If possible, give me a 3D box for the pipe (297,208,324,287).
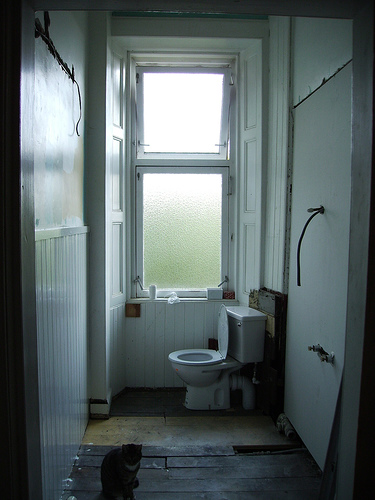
[{"bbox_3d":[0.694,-0.011,2.231,0.134,0.419,0.303,0,-1,16],"label":"pipe"}]

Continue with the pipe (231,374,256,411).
[{"bbox_3d":[0.444,1.108,3.049,0.192,0.386,0.149,0,-7,13],"label":"pipe"}]

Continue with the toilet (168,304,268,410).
[{"bbox_3d":[0.197,0.827,3.074,0.580,0.861,0.480,4,3,-9],"label":"toilet"}]

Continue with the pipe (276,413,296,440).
[{"bbox_3d":[0.641,1.156,2.554,0.087,0.090,0.255,1,-1,0],"label":"pipe"}]

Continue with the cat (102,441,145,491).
[{"bbox_3d":[-0.293,0.997,1.811,0.218,0.257,0.122,0,-2,42],"label":"cat"}]

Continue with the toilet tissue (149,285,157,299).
[{"bbox_3d":[-0.297,0.362,3.371,0.074,0.141,0.074,-3,5,-12],"label":"toilet tissue"}]
